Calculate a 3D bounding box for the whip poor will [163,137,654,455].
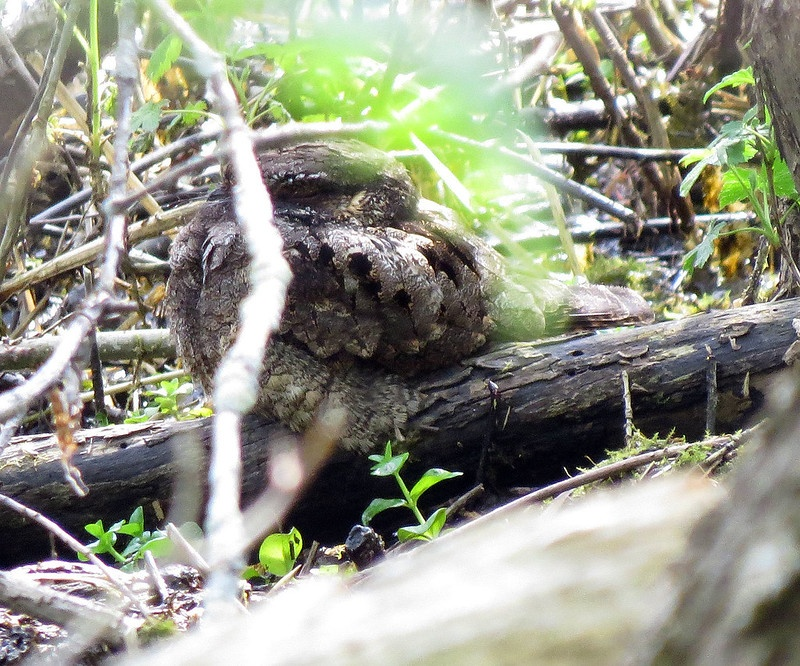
[{"bbox_3d":[-0.053,-0.203,3.845,1.444,0.983,0.759,-18,22,-26],"label":"whip poor will"}]
